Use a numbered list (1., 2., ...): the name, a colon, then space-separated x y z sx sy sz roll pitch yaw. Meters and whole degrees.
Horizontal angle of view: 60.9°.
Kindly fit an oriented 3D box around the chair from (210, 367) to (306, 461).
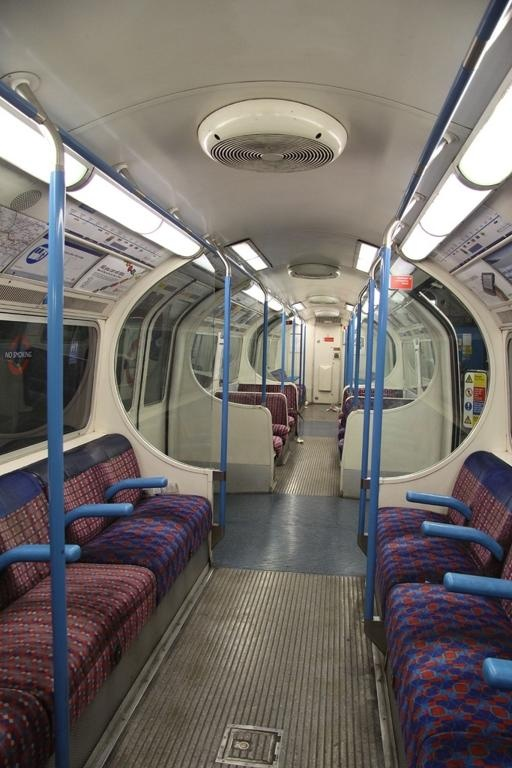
1. chair: 0.168 0.487 8.376 1.067 1.275 1.813 1 5 13

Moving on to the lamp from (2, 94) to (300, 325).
1. lamp: -0.634 -0.811 2.162 0.141 0.075 1.512 -14 -14 17
